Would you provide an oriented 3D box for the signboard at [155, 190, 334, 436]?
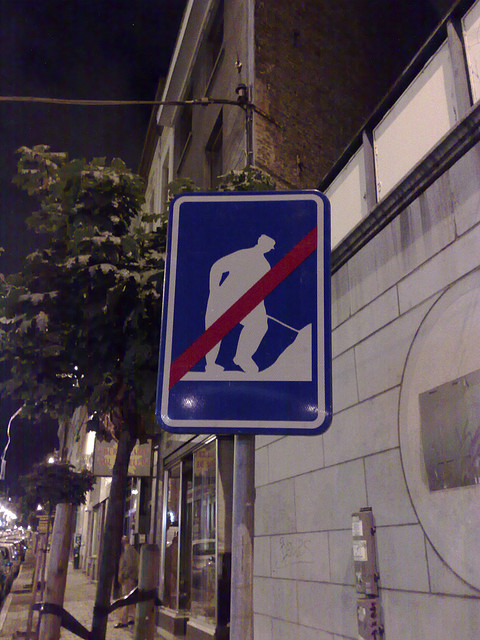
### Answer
[{"bbox_3d":[0.025,-0.033,1.287,0.377,0.876,0.045,-3,-51,8],"label":"signboard"}]

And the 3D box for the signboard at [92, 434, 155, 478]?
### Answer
[{"bbox_3d":[-3.266,3.601,14.098,1.743,0.282,1.893,2,-52,-27],"label":"signboard"}]
